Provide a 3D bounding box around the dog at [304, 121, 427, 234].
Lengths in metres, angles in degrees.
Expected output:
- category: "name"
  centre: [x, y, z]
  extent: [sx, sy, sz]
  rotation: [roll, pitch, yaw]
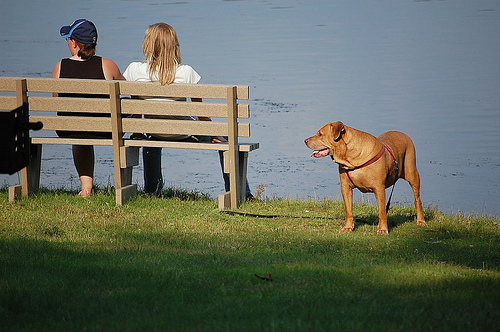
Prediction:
- category: "dog"
  centre: [2.563, 0.154, 22.696]
  extent: [1.147, 2.202, 3.379]
  rotation: [2, 6, 41]
